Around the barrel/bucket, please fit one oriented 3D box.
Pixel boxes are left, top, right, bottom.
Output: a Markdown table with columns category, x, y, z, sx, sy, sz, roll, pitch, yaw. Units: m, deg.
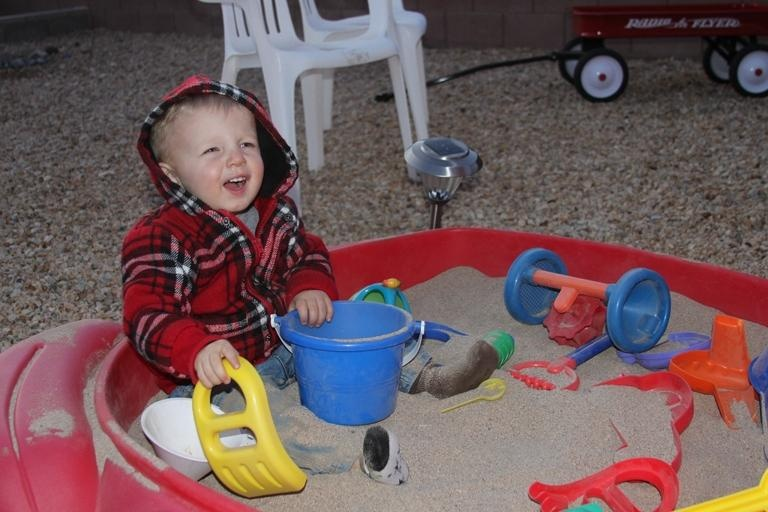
| category | x | y | z | sx | sy | sz | roll | pitch | yaw |
| --- | --- | --- | --- | --- | --- | --- | --- | --- | --- |
| barrel/bucket | -0.096 | 0.273 | 1.708 | 0.336 | 0.242 | 0.343 | 1 | 12 | 0 |

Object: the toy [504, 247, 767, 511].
| category | x | y | z | sx | sy | sz | roll | pitch | yaw |
| --- | --- | --- | --- | --- | --- | --- | --- | --- | --- |
| toy | 0.660 | 0.339 | 1.921 | 0.602 | 0.218 | 0.616 | 8 | 18 | -3 |

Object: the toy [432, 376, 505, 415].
| category | x | y | z | sx | sy | sz | roll | pitch | yaw |
| --- | --- | --- | --- | --- | --- | --- | --- | --- | --- |
| toy | 0.227 | 0.346 | 1.700 | 0.178 | 0.020 | 0.070 | -16 | 23 | -36 |

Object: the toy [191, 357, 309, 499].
| category | x | y | z | sx | sy | sz | roll | pitch | yaw |
| --- | --- | --- | --- | --- | --- | --- | --- | --- | --- |
| toy | -0.263 | 0.392 | 1.461 | 0.188 | 0.346 | 0.081 | -21 | 8 | 29 |
